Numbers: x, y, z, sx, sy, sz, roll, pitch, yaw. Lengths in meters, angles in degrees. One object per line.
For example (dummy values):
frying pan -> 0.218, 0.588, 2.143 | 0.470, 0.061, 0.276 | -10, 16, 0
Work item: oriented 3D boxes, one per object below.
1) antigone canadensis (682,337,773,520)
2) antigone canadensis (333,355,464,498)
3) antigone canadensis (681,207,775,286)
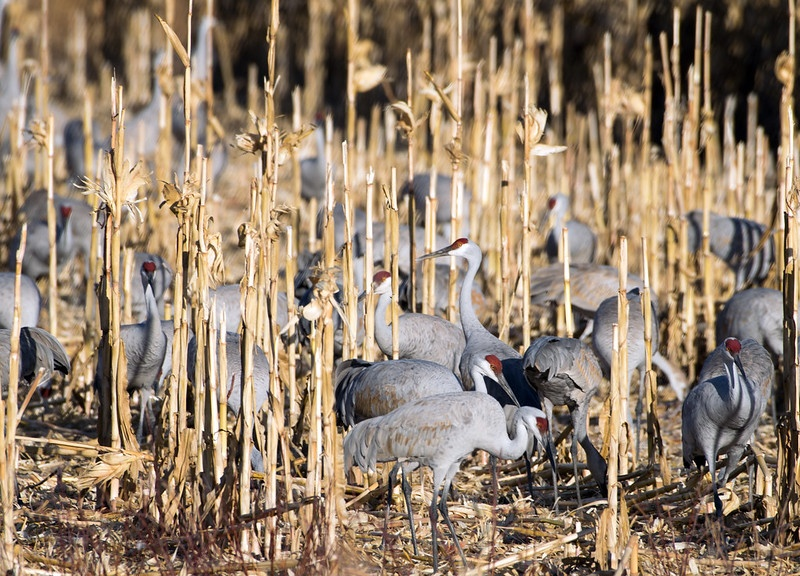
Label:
antigone canadensis -> 2.820, 1.109, 15.451 | 0.491, 1.662, 1.728 | -5, 6, -10
antigone canadensis -> -0.145, 1.100, 15.338 | 1.328, 1.089, 0.774 | 2, 0, -6
antigone canadensis -> 3.643, -0.419, 18.535 | 0.873, 0.938, 0.951 | 4, -7, -27
